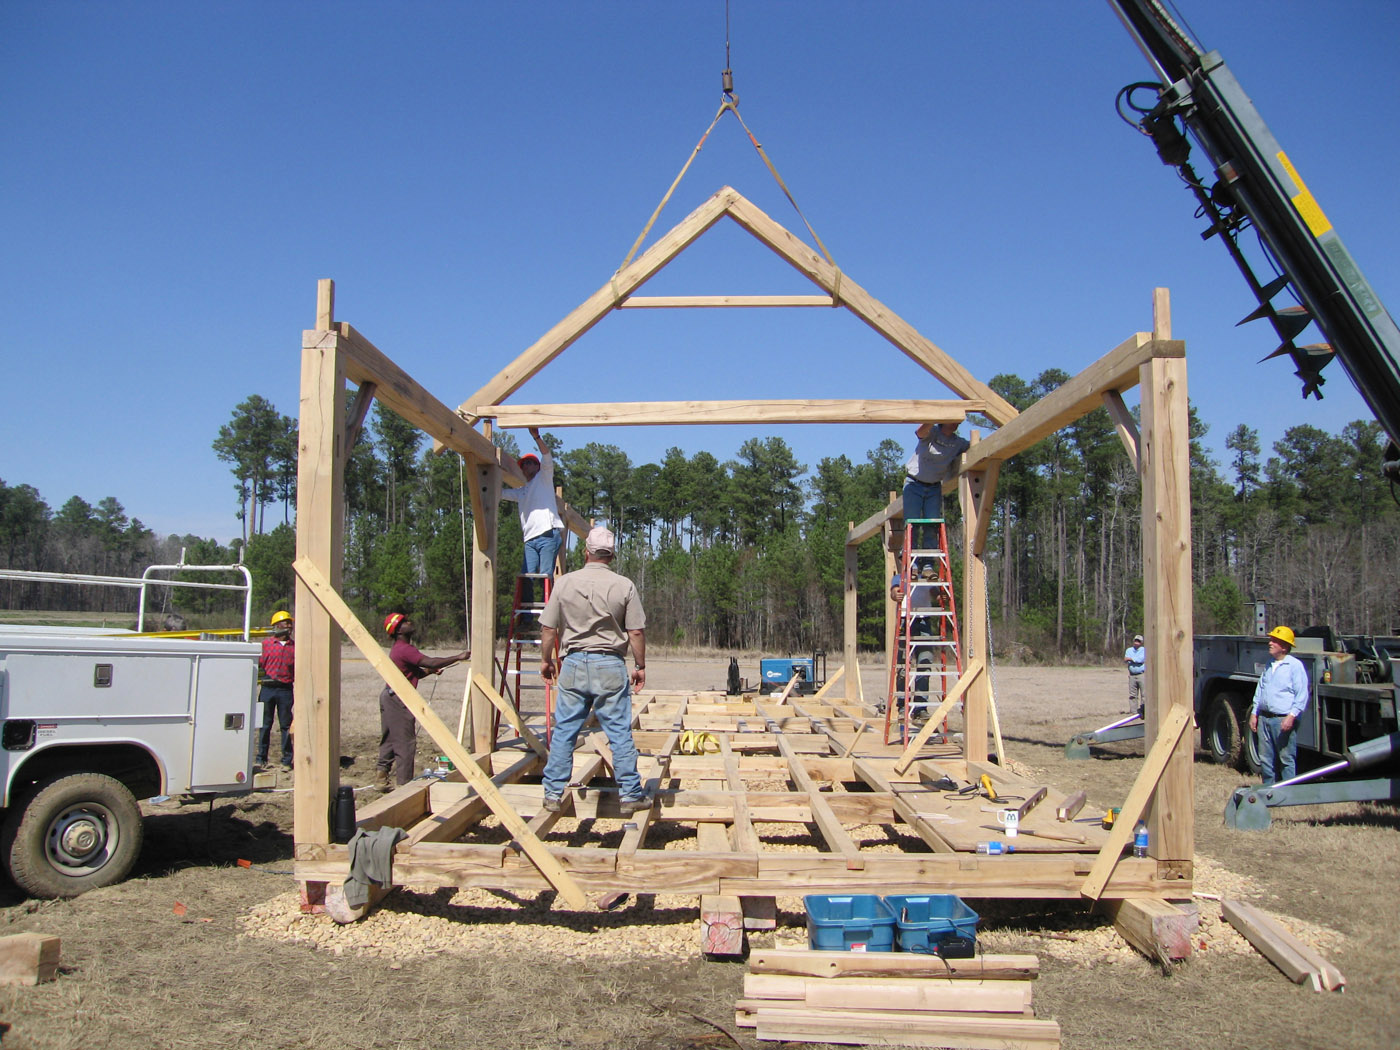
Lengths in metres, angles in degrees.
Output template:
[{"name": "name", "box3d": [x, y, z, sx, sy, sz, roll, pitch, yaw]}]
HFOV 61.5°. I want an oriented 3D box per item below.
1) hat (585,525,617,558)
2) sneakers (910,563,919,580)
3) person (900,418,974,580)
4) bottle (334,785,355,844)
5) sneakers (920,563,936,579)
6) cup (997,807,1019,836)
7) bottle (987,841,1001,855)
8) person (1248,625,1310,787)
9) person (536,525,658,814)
[{"name": "hat", "box3d": [-0.740, 0.112, 8.746, 0.150, 0.156, 0.261, -1, 7, -9]}, {"name": "sneakers", "box3d": [2.213, 0.458, 12.037, 0.089, 0.146, 0.051, 0, -29, 6]}, {"name": "person", "box3d": [2.344, -0.242, 11.769, 0.570, 1.537, 1.117, 0, 1, 2]}, {"name": "bottle", "box3d": [-2.389, 1.939, 7.960, 0.134, 0.342, 0.163, 0, 1, -19]}, {"name": "sneakers", "box3d": [2.347, 0.469, 12.084, 0.074, 0.120, 0.272, -3, -15, 7]}, {"name": "cup", "box3d": [2.154, 2.093, 8.317, 0.133, 0.214, 0.146, 0, -11, 0]}, {"name": "bottle", "box3d": [1.980, 2.150, 7.889, 0.089, 0.076, 0.053, -1, -11, 6]}, {"name": "person", "box3d": [5.808, 1.812, 11.742, 0.417, 1.577, 0.704, 0, 1, 13]}, {"name": "person", "box3d": [-0.778, 1.016, 8.690, 0.766, 2.154, 0.547, 0, 12, -3]}]
